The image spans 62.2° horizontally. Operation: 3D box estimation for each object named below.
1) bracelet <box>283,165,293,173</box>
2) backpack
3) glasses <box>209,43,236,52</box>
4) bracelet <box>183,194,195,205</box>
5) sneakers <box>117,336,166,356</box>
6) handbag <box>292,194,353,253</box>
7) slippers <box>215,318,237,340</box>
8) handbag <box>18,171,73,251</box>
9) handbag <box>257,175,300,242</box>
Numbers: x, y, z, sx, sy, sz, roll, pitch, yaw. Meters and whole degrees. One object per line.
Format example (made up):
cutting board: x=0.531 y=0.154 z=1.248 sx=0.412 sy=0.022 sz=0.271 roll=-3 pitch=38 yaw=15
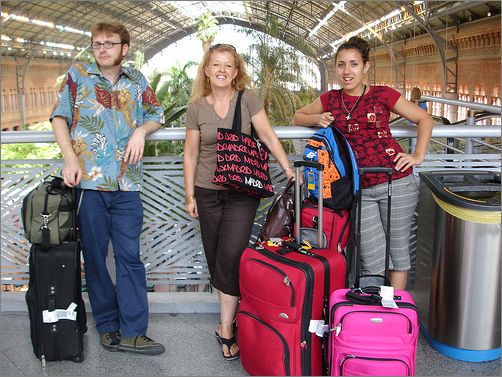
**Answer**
bracelet: x=0.263 y=-0.140 z=3.030 sx=0.013 sy=0.047 sz=0.045 roll=28 pitch=11 yaw=23
backpack: x=0.595 y=-0.081 z=3.084 sx=0.442 sy=0.793 sz=0.574 roll=-6 pitch=15 yaw=-6
glasses: x=-0.198 y=-0.977 z=2.883 sx=0.193 sy=0.066 sz=0.089 roll=-1 pitch=7 yaw=-7
bracelet: x=-0.470 y=0.085 z=3.092 sx=0.067 sy=0.049 sz=0.066 roll=0 pitch=1 yaw=-6
sneakers: x=-0.804 y=1.138 z=3.063 sx=0.347 sy=0.138 sz=0.130 roll=2 pitch=-4 yaw=5
handbag: x=0.541 y=0.229 z=2.953 sx=0.300 sy=0.392 sz=0.408 roll=12 pitch=51 yaw=27
slippers: x=-0.198 y=1.069 z=3.224 sx=0.099 sy=0.113 sz=0.290 roll=0 pitch=0 yaw=-4
handbag: x=-1.409 y=0.159 z=2.952 sx=0.322 sy=0.443 sz=0.447 roll=3 pitch=7 yaw=-7
handbag: x=0.204 y=0.135 z=2.987 sx=0.165 sy=0.322 sz=0.428 roll=14 pitch=38 yaw=14
